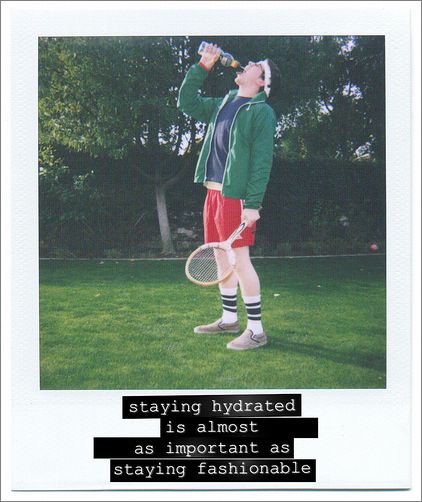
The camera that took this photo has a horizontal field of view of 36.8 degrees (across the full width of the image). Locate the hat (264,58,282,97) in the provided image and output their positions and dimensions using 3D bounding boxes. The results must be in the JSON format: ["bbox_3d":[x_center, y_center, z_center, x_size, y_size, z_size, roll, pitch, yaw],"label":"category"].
[{"bbox_3d":[0.588,-1.601,5.880,0.088,0.327,0.205,3,6,25],"label":"hat"}]

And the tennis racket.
[{"bbox_3d":[0.049,0.031,5.542,0.279,0.078,0.944,36,37,4],"label":"tennis racket"}]

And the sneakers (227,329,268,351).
[{"bbox_3d":[0.325,0.804,5.571,0.313,0.196,0.161,-2,-16,-17],"label":"sneakers"}]

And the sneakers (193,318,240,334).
[{"bbox_3d":[0.068,0.764,5.920,0.383,0.194,0.169,6,-16,-4],"label":"sneakers"}]
